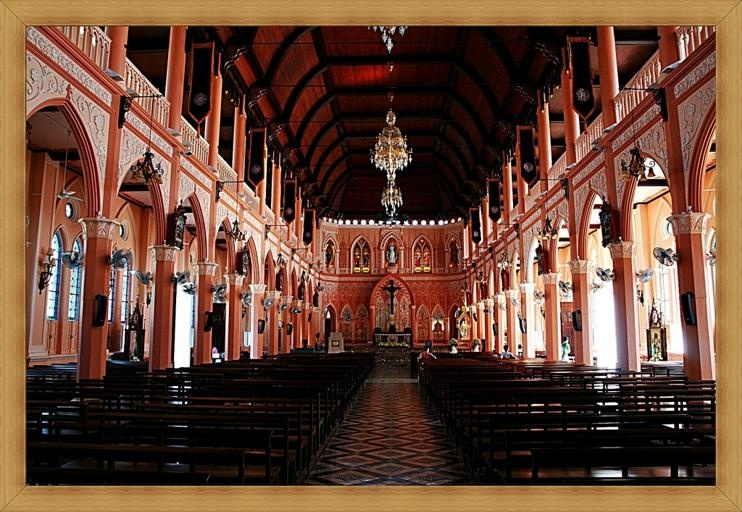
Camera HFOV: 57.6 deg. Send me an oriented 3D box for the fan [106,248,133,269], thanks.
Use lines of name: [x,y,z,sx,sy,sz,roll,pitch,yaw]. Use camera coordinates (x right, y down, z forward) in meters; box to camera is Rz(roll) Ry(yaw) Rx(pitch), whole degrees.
fan: [-5.965,0.001,16.011,0.396,0.564,1.072,2,-12,-13]

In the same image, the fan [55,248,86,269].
fan: [-8.164,0.094,18.318,0.978,0.630,1.127,2,0,-30]

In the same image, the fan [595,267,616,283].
fan: [6.495,0.501,18.565,0.588,0.228,0.442,5,-2,-4]

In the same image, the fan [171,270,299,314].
fan: [-5.334,1.380,26.259,4.978,1.036,0.841,17,39,19]

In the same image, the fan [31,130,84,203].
fan: [-9.077,-2.750,20.113,1.719,1.991,1.809,6,8,-7]

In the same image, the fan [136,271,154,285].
fan: [-7.198,0.680,21.460,0.485,0.221,0.612,1,26,-33]

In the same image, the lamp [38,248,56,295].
lamp: [-9.935,0.474,20.742,0.472,1.441,0.450,4,0,-17]

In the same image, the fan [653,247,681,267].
fan: [7.729,-0.003,17.611,0.341,0.534,0.526,-37,28,-9]

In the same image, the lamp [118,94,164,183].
lamp: [-5.449,-2.878,16.154,1.024,2.150,0.870,6,24,-2]
